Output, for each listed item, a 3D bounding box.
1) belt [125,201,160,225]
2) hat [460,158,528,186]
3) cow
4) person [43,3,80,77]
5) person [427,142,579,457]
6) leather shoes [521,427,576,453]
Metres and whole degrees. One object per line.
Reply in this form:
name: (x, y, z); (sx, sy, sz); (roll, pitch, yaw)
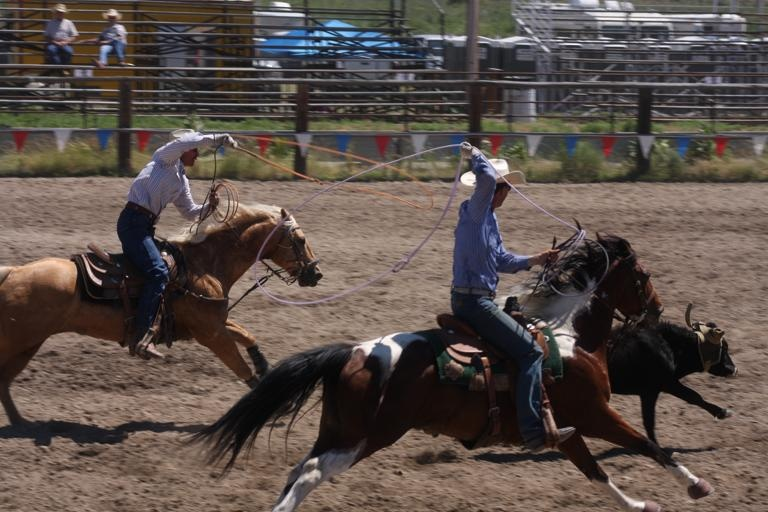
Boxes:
belt: (-2.847, -0.504, 12.614); (0.404, 0.065, 0.310); (19, -7, 5)
hat: (1.182, -0.875, 11.770); (0.660, 0.164, 0.415); (-1, 30, 10)
cow: (3.672, 1.533, 13.257); (0.980, 1.525, 2.868); (3, -15, -18)
person: (-6.579, -4.473, 21.737); (0.615, 1.238, 0.984); (0, 9, -16)
person: (1.329, 0.429, 11.520); (1.369, 3.254, 0.657); (9, 11, 31)
leather shoes: (1.638, 1.950, 11.431); (0.795, 0.158, 0.193); (-10, -32, -10)
